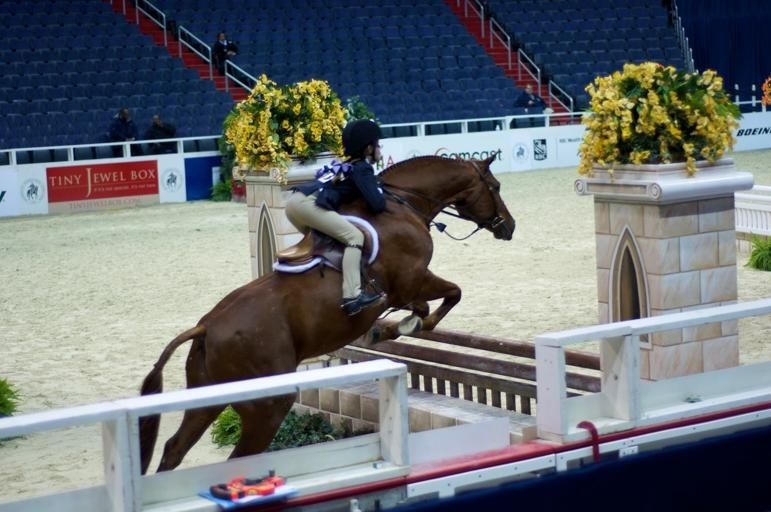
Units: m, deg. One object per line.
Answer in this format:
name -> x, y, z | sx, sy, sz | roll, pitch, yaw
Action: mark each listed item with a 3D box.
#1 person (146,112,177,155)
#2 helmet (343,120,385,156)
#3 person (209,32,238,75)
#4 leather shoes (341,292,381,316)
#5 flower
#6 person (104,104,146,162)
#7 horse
person -> -4.199, -2.262, 22.005 | 0.575, 0.707, 0.710 | -5, 6, -10
helmet -> -0.184, -0.888, 8.890 | 0.230, 0.233, 0.295 | -17, -10, 33
person -> -3.378, -4.274, 25.076 | 0.504, 0.952, 0.504 | -7, 12, 7
leather shoes -> -0.167, 0.330, 8.573 | 0.337, 0.140, 0.123 | -25, 3, -6
flower -> 2.089, -1.081, 9.379 | 1.216, 0.860, 0.909 | -1, 3, -16
person -> -4.849, -2.283, 21.861 | 0.594, 0.873, 0.743 | -5, 6, -13
horse -> -0.435, 0.357, 8.743 | 2.986, 2.051, 0.715 | -8, 7, -34
